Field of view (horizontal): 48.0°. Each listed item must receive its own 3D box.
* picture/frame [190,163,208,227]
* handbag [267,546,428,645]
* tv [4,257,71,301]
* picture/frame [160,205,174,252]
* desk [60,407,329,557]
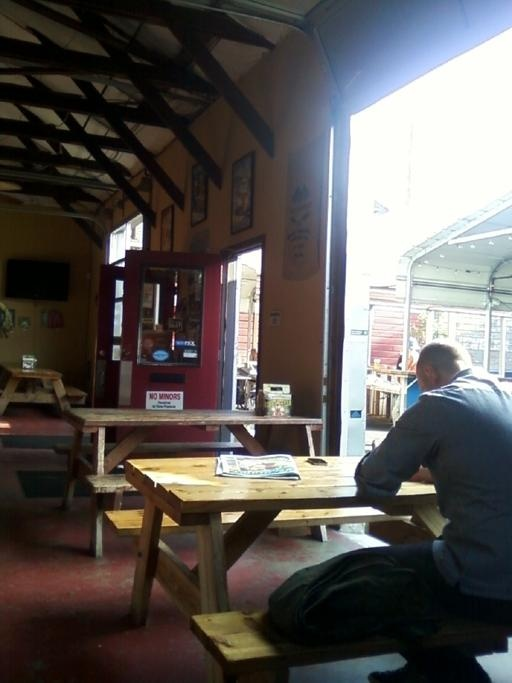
[{"bbox_3d":[-0.657,-1.687,6.522,0.106,0.720,0.617,5,-4,-19],"label":"picture/frame"},{"bbox_3d":[0.208,0.597,1.354,0.269,0.100,0.205,-3,0,-15],"label":"handbag"},{"bbox_3d":[-4.626,-1.295,11.957,0.965,0.665,0.133,2,1,-26],"label":"tv"},{"bbox_3d":[-1.200,-1.488,7.659,0.097,0.662,0.710,5,-4,-19],"label":"picture/frame"},{"bbox_3d":[-0.434,0.844,3.904,1.767,0.730,1.508,6,-3,-35],"label":"desk"}]
